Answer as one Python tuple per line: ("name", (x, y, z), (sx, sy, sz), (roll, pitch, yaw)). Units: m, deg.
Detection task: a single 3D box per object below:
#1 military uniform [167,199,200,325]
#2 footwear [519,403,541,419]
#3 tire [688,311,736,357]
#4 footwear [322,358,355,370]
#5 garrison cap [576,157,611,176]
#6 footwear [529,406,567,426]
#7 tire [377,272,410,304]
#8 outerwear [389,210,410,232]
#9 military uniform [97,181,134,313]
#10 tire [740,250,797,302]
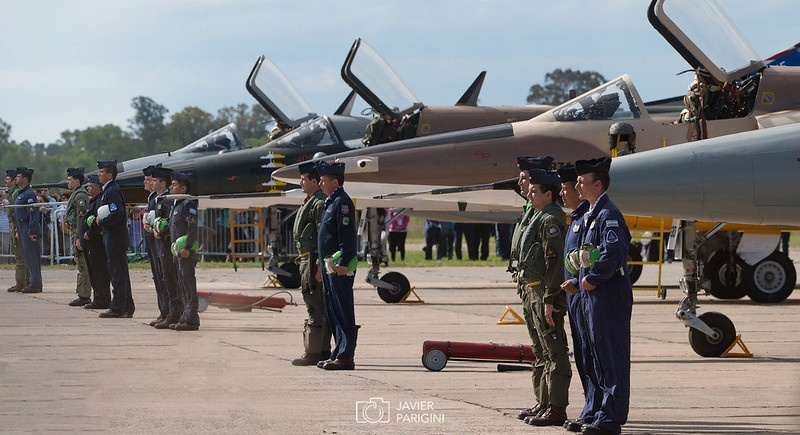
("military uniform", (-4.276, 0.899, 23.605), (0.538, 2.539, 0.623), (-2, -1, -9))
("footwear", (2.159, 3.178, 19.506), (0.491, 0.180, 0.174), (-13, -6, -3))
("tire", (5.770, 2.175, 21.900), (0.869, 0.736, 0.276), (-12, 0, 0))
("footwear", (-1.078, 2.632, 21.316), (0.619, 0.246, 0.192), (4, -6, -4))
("garrison cap", (3.194, -0.840, 19.266), (0.435, 0.161, 0.327), (3, -5, -40))
("footwear", (2.465, 3.245, 19.337), (0.787, 0.285, 0.242), (2, -3, -2))
("tire", (-0.147, 1.591, 26.901), (0.808, 0.684, 0.254), (2, -4, -28))
("outerwear", (-0.041, 0.071, 34.149), (0.755, 0.795, 0.506), (1, -5, -6))
("military uniform", (-6.004, 0.618, 25.013), (0.671, 2.837, 0.484), (-2, -1, -18))
("tire", (8.207, 1.293, 26.482), (0.996, 0.933, 0.341), (34, -1, 2))
